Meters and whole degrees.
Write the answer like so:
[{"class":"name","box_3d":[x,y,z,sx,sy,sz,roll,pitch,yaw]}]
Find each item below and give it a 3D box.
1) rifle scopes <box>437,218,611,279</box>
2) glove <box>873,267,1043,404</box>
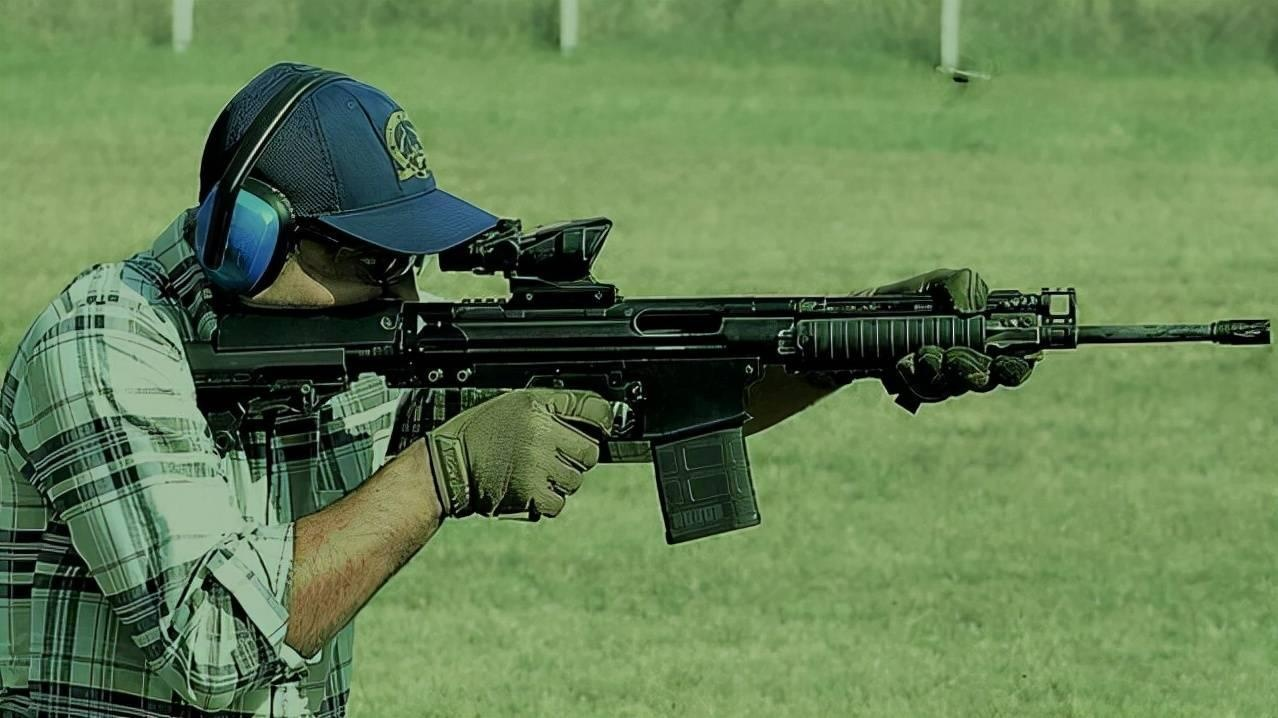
[{"class":"rifle scopes","box_3d":[-0.533,-0.531,8.809,0.870,0.311,0.258,2,6,7]},{"class":"glove","box_3d":[1.526,-0.112,8.698,0.221,0.723,0.405,-16,13,-19]}]
